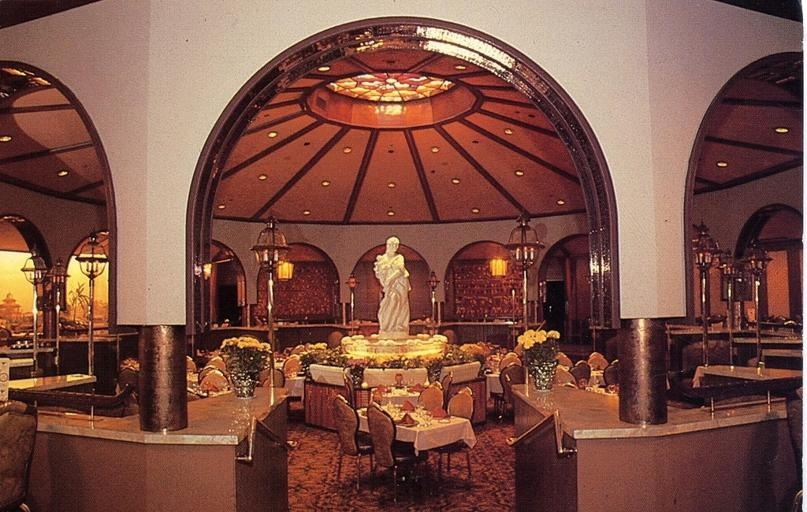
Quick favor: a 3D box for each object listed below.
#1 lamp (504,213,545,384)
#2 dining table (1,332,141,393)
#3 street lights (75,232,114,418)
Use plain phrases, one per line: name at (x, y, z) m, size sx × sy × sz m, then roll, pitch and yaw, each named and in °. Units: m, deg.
lamp at (1.818, 0.561, 9.800) m, size 0.517 × 2.103 × 0.509 m, roll 16°, pitch -31°, yaw -17°
dining table at (-5.771, 1.889, 11.428) m, size 1.865 × 1.655 × 1.246 m, roll 3°, pitch -6°, yaw -44°
street lights at (-4.965, 0.909, 10.370) m, size 0.587 × 2.339 × 0.556 m, roll -4°, pitch -8°, yaw 5°
